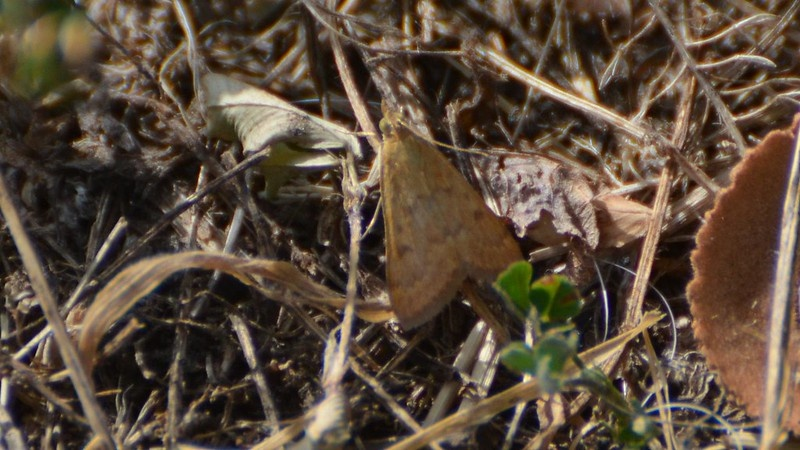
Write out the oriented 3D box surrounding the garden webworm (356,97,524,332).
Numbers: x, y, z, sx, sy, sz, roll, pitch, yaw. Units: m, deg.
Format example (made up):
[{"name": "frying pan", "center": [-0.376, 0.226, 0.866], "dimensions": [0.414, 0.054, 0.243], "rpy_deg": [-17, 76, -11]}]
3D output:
[{"name": "garden webworm", "center": [0.125, -0.033, 2.877], "dimensions": [0.377, 0.460, 0.328], "rpy_deg": [-9, 32, -8]}]
